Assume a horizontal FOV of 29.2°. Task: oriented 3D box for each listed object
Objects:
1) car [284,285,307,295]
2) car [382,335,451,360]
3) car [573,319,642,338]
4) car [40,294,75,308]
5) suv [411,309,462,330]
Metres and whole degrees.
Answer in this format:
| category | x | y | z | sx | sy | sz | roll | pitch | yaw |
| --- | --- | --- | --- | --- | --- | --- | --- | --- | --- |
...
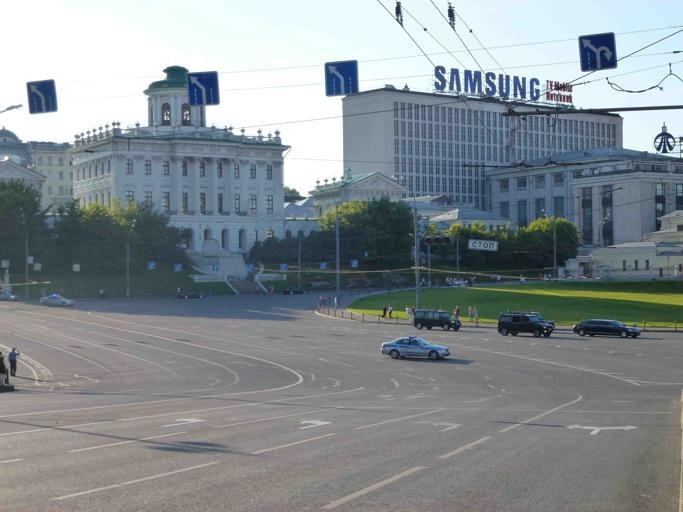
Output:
| category | x | y | z | sx | sy | sz | roll | pitch | yaw |
| --- | --- | --- | --- | --- | --- | --- | --- | --- | --- |
| car | -6.559 | 4.726 | 181.782 | 2.915 | 0.695 | 3.380 | 0 | 5 | 0 |
| car | 6.127 | 7.902 | 111.383 | 5.860 | 1.425 | 2.052 | -1 | -2 | 15 |
| car | 24.801 | 6.832 | 122.727 | 5.667 | 1.262 | 2.124 | -2 | -3 | 24 |
| car | -33.977 | 5.378 | 155.957 | 3.333 | 0.974 | 2.047 | 0 | 0 | 6 |
| suv | 9.614 | 6.425 | 131.761 | 4.224 | 1.490 | 2.062 | -1 | 0 | 19 |
